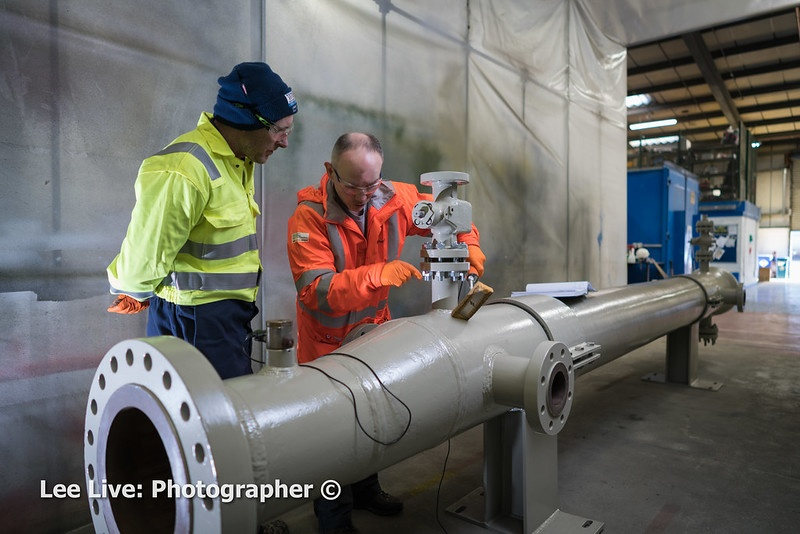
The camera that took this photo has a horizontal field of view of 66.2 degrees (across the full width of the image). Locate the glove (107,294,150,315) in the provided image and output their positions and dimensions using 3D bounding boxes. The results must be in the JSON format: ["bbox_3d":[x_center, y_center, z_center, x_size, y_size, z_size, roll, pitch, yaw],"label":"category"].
[{"bbox_3d":[-1.107,0.152,2.483,0.180,0.081,0.136,-1,-1,42],"label":"glove"}]

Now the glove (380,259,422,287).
[{"bbox_3d":[0.006,0.035,2.536,0.191,0.143,0.102,-8,-3,6],"label":"glove"}]

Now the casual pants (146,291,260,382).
[{"bbox_3d":[-0.793,0.221,2.590,0.303,0.611,0.411,1,4,2],"label":"casual pants"}]

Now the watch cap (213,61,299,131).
[{"bbox_3d":[-0.597,-0.720,2.512,0.327,0.257,0.281,6,25,-2],"label":"watch cap"}]

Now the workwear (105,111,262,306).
[{"bbox_3d":[-0.798,-0.247,2.587,0.438,0.792,0.781,6,11,13],"label":"workwear"}]
